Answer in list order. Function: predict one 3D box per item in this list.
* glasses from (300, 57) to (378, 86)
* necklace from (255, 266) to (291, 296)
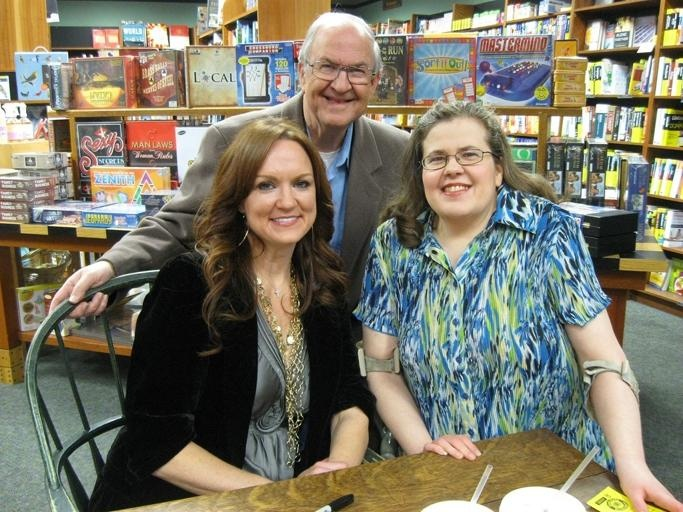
[{"bbox_3d":[-0.003,-0.792,2.282,0.281,0.104,0.093,-2,13,-3],"label":"glasses"},{"bbox_3d":[-0.215,0.091,1.768,0.090,0.033,0.105,4,51,-28],"label":"necklace"}]
